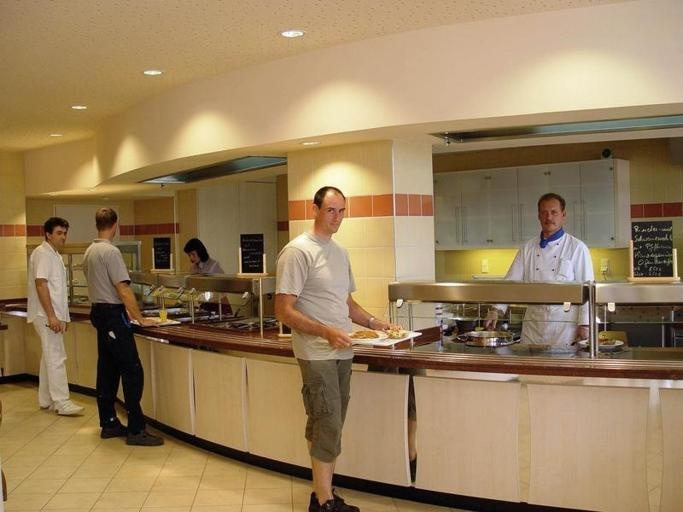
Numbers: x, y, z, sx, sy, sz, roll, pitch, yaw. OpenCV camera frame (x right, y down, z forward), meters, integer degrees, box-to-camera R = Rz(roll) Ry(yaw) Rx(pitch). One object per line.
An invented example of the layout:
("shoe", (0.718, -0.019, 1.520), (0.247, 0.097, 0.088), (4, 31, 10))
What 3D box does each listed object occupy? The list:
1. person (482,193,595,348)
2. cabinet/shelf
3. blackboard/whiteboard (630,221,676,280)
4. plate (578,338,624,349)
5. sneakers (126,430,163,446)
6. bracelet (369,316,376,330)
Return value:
("person", (1.584, 0.325, 4.507), (0.843, 1.582, 0.564), (-2, 11, 24))
("cabinet/shelf", (2.268, -0.581, 7.005), (2.244, 0.968, 0.409), (0, 2, 30))
("blackboard/whiteboard", (3.381, -0.069, 6.036), (0.655, 0.757, 0.107), (0, -2, 13))
("plate", (1.696, 0.569, 3.634), (0.306, 0.078, 0.052), (-6, 5, 4))
("sneakers", (-1.783, 1.647, 5.162), (0.368, 0.141, 0.133), (1, -3, -2))
("bracelet", (0.212, 0.457, 3.898), (0.064, 0.061, 0.057), (-2, -3, 13))
